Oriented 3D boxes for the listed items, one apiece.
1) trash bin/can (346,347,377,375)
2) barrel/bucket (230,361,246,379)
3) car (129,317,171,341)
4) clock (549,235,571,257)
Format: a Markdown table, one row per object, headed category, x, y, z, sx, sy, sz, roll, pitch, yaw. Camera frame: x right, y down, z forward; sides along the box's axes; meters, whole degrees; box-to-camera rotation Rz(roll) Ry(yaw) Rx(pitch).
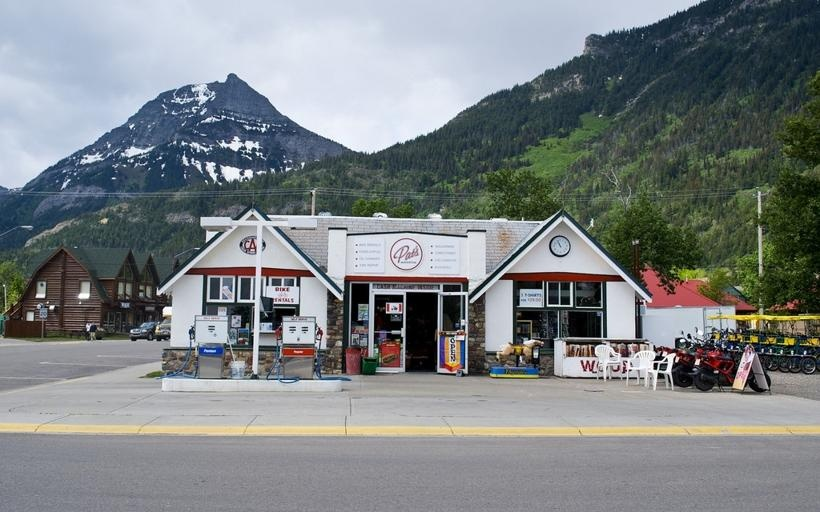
| category | x | y | z | sx | sy | sz | roll | pitch | yaw |
| --- | --- | --- | --- | --- | --- | --- | --- | --- | --- |
| trash bin/can | -2.699 | 5.674 | 50.180 | 1.704 | 1.446 | 0.606 | 2 | -9 | -5 |
| barrel/bucket | -8.508 | 5.614 | 45.699 | 0.616 | 0.891 | 0.913 | 3 | -9 | -11 |
| car | -25.022 | 7.154 | 89.405 | 3.161 | 2.126 | 6.619 | 5 | -10 | -21 |
| clock | 8.199 | -0.501 | 51.537 | 1.057 | 1.104 | 0.177 | -6 | -3 | -6 |
